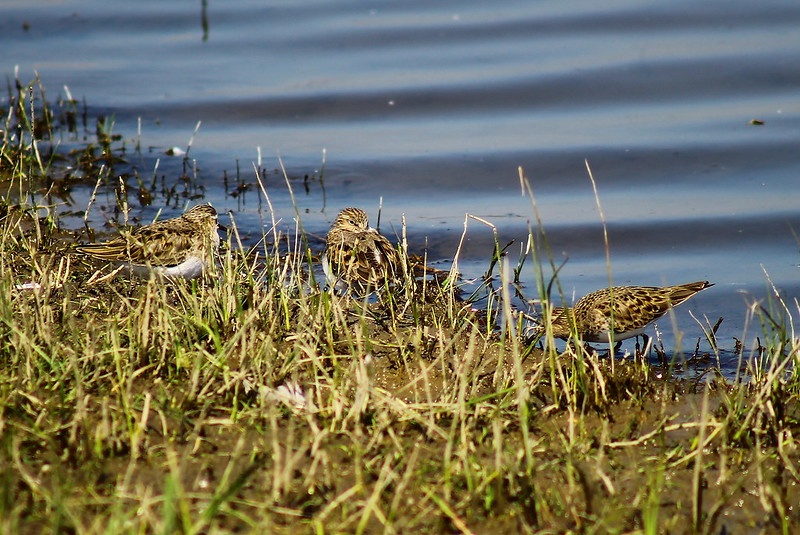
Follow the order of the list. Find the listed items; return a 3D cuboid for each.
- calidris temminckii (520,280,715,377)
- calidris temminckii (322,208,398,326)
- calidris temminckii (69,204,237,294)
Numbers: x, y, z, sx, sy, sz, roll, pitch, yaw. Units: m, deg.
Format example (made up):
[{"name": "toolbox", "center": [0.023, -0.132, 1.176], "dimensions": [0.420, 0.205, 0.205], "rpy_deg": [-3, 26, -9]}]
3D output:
[{"name": "calidris temminckii", "center": [2.340, 0.539, 7.898], "dimensions": [2.316, 0.767, 0.645], "rpy_deg": [-10, 12, -17]}, {"name": "calidris temminckii", "center": [-0.414, -0.081, 8.436], "dimensions": [0.820, 0.894, 1.290], "rpy_deg": [-12, 31, -26]}, {"name": "calidris temminckii", "center": [-2.607, -0.242, 8.247], "dimensions": [1.696, 0.784, 0.553], "rpy_deg": [1, 15, -20]}]
